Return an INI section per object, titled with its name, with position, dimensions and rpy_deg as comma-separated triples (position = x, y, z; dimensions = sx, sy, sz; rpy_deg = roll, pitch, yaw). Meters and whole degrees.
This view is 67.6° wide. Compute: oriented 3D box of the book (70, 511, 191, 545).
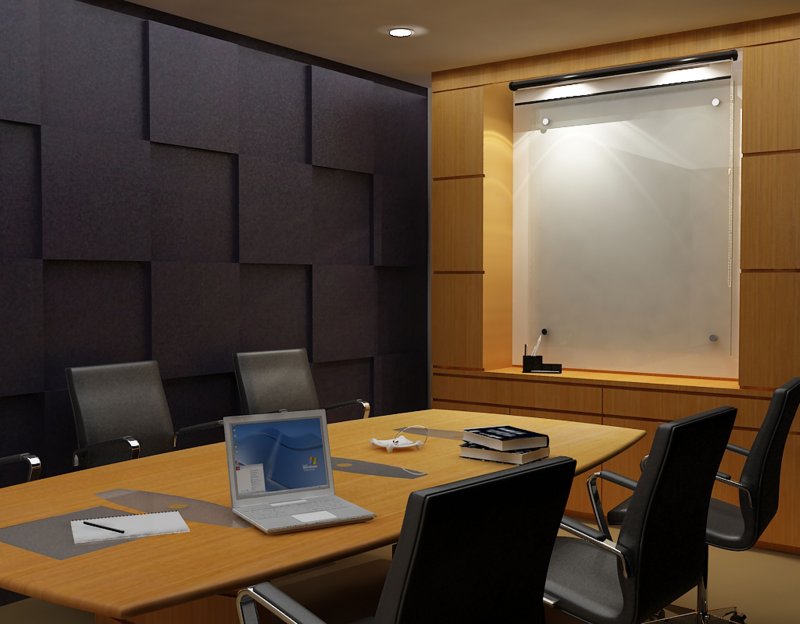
[book]
position = -0.850, 0.672, 1.873
dimensions = 0.344, 0.017, 0.229
rpy_deg = -1, 1, -24

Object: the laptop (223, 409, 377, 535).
[laptop]
position = -0.388, 0.488, 2.089
dimensions = 0.379, 0.361, 0.395
rpy_deg = -1, -1, -30

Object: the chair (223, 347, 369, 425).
[chair]
position = -0.746, 0.457, 4.283
dimensions = 0.626, 0.778, 0.591
rpy_deg = -5, -1, -38
